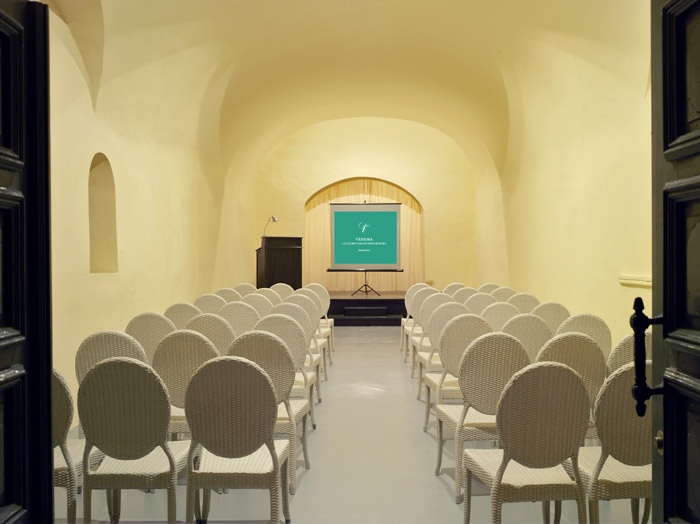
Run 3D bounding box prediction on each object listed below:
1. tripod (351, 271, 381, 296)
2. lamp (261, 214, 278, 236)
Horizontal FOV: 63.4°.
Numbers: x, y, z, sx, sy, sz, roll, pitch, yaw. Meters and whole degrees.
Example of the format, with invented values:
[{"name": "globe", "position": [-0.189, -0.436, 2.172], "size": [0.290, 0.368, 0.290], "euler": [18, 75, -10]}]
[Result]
[{"name": "tripod", "position": [0.371, 0.565, 14.140], "size": [0.501, 0.627, 0.594], "euler": [0, -3, -1]}, {"name": "lamp", "position": [-1.930, -0.892, 13.662], "size": [0.368, 0.458, 0.616], "euler": [-1, 2, -2]}]
